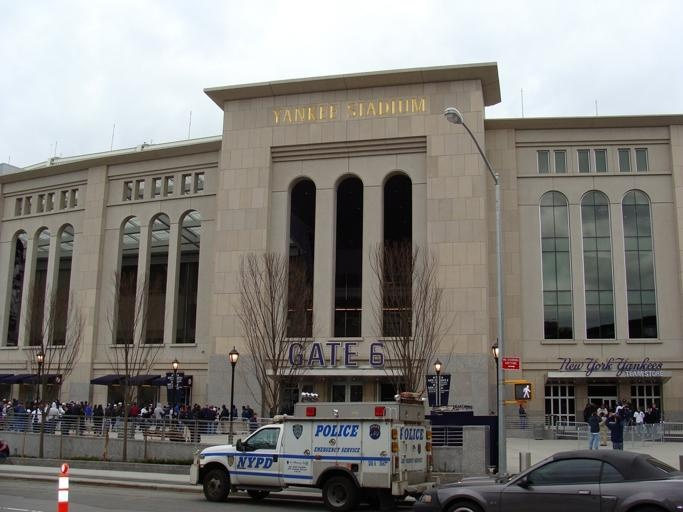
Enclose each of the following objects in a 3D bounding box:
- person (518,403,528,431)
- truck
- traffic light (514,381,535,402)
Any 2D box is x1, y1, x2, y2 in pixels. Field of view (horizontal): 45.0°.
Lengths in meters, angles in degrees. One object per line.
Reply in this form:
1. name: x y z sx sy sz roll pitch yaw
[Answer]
1. person: 11.463 10.122 51.941 0.544 1.703 2.386 -3 -14 11
2. truck: -0.851 7.006 31.008 7.176 3.479 4.124 -4 -19 23
3. traffic light: 7.007 5.165 31.709 0.598 0.767 1.101 -3 -14 9
